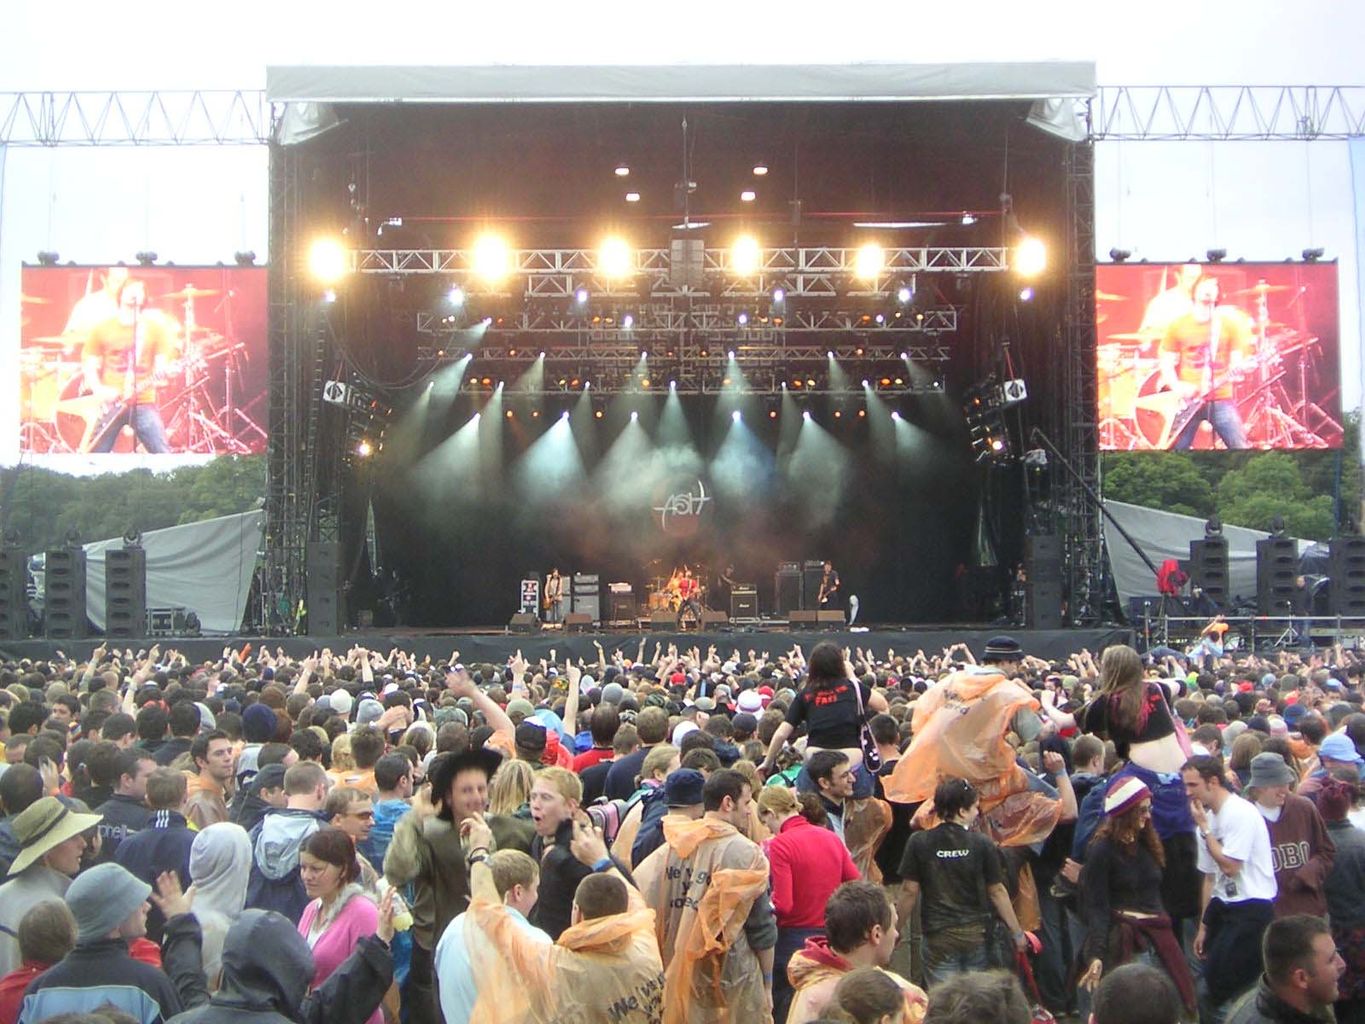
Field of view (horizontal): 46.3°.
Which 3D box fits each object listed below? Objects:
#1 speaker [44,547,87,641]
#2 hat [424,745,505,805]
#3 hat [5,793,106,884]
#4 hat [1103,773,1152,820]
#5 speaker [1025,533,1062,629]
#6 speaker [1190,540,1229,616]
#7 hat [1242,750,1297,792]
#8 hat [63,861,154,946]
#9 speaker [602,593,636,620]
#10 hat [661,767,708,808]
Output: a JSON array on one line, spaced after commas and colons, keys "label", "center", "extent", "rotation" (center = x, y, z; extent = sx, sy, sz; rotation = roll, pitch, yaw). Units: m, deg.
[{"label": "speaker", "center": [-10.722, 1.432, 27.611], "extent": [0.520, 1.397, 0.472], "rotation": [-3, -24, -15]}, {"label": "hat", "center": [-1.689, 2.065, 12.216], "extent": [0.445, 0.182, 0.428], "rotation": [-30, -23, 12]}, {"label": "hat", "center": [-4.828, 2.401, 12.225], "extent": [0.617, 0.262, 0.673], "rotation": [-23, 10, 34]}, {"label": "hat", "center": [3.527, 2.240, 12.708], "extent": [0.320, 0.183, 0.263], "rotation": [-37, -19, 14]}, {"label": "speaker", "center": [6.525, 1.263, 28.816], "extent": [0.734, 2.251, 1.451], "rotation": [1, -5, 11]}, {"label": "speaker", "center": [9.611, 1.059, 28.506], "extent": [0.647, 1.463, 0.760], "rotation": [-10, 9, -36]}, {"label": "hat", "center": [4.828, 2.106, 13.088], "extent": [0.319, 0.187, 0.309], "rotation": [-15, 1, 31]}, {"label": "hat", "center": [-4.138, 2.770, 11.467], "extent": [0.570, 0.484, 0.556], "rotation": [-15, 6, -35]}, {"label": "speaker", "center": [-1.343, 2.049, 34.675], "extent": [0.788, 0.837, 0.605], "rotation": [0, -6, -3]}, {"label": "hat", "center": [0.014, 2.113, 12.316], "extent": [0.225, 0.291, 0.310], "rotation": [1, 9, 18]}]
